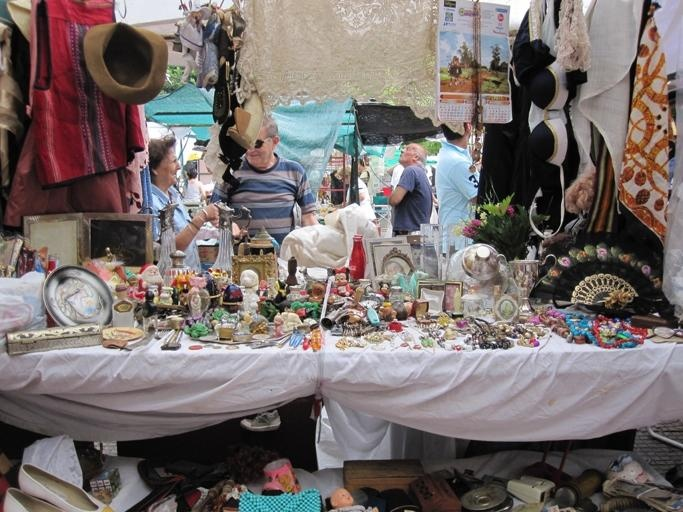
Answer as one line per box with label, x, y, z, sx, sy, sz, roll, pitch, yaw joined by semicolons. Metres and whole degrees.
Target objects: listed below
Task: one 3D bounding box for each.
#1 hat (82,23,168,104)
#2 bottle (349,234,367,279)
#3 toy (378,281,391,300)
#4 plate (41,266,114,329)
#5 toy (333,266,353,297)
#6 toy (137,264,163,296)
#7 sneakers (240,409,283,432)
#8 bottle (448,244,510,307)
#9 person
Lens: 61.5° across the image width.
hat;-1.297;-1.124;3.392;0.469;0.197;0.630;33;18;-15
bottle;0.096;0.010;3.463;0.099;0.243;0.181;-2;17;0
toy;0.242;0.190;3.239;0.030;0.073;0.093;-8;-27;1
plate;-1.345;0.241;2.945;0.360;0.377;0.083;-11;20;18
toy;0.000;0.156;3.252;0.123;0.191;0.119;-1;-22;-2
toy;-1.044;0.152;3.189;0.157;0.201;0.129;8;-25;-39
sneakers;-0.428;0.892;3.126;0.240;0.132;0.101;3;0;-8
bottle;0.768;0.102;3.214;0.339;0.321;0.158;1;17;11
person;-0.584;-0.479;4.099;1.478;0.961;1.113;-9;18;-19
